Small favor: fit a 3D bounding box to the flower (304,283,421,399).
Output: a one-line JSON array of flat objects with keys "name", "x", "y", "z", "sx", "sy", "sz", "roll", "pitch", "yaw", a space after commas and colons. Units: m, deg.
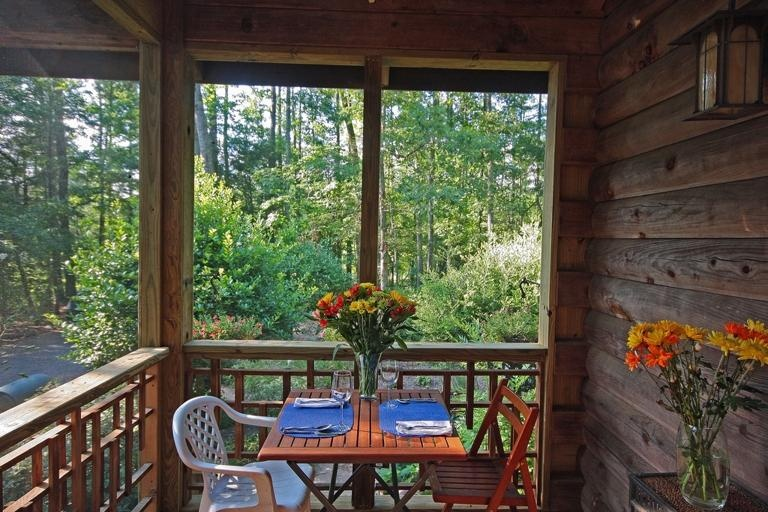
[{"name": "flower", "x": -0.132, "y": 0.496, "z": 3.974, "sx": 0.697, "sy": 0.754, "sz": 0.707, "roll": -1, "pitch": -1, "yaw": 27}]
